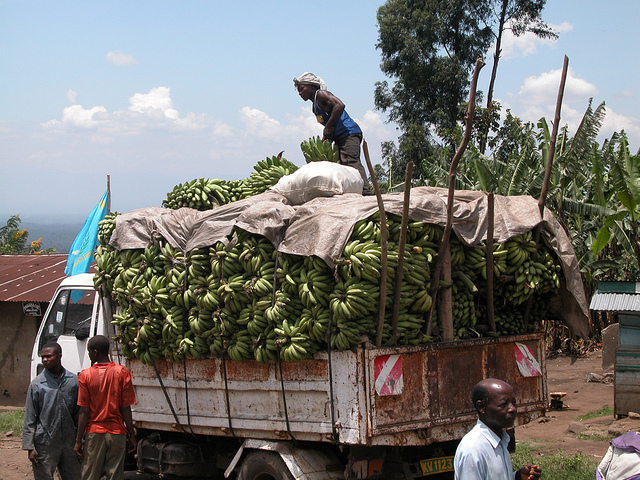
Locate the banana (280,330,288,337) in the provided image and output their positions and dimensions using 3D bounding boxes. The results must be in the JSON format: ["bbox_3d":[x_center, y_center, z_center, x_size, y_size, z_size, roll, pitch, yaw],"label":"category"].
[{"bbox_3d":[-0.387,1.007,6.736,0.086,0.075,0.021,-2,6,17],"label":"banana"}]

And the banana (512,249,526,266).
[{"bbox_3d":[2.277,0.205,7.160,0.120,0.148,0.042,47,-11,-34],"label":"banana"}]

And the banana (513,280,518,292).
[{"bbox_3d":[2.276,0.539,7.292,0.030,0.123,0.024,-2,0,-42],"label":"banana"}]

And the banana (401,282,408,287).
[{"bbox_3d":[0.881,0.465,6.575,0.016,0.043,0.101,2,9,41],"label":"banana"}]

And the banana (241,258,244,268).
[{"bbox_3d":[-0.880,0.254,7.135,0.022,0.106,0.096,-5,6,-20],"label":"banana"}]

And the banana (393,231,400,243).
[{"bbox_3d":[0.801,-0.034,6.530,0.030,0.129,0.044,28,-1,12],"label":"banana"}]

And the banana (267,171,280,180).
[{"bbox_3d":[-0.623,-0.872,8.457,0.173,0.094,0.029,0,7,31],"label":"banana"}]

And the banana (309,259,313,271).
[{"bbox_3d":[-0.092,0.271,6.640,0.019,0.090,0.048,0,-2,-30],"label":"banana"}]

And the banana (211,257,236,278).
[{"bbox_3d":[-1.125,0.312,7.265,0.229,0.255,0.131,-19,-21,41],"label":"banana"}]

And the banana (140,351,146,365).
[{"bbox_3d":[-2.277,1.526,8.070,0.034,0.100,0.121,3,39,-21],"label":"banana"}]

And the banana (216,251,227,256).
[{"bbox_3d":[-1.135,0.155,7.266,0.137,0.052,0.035,0,7,30],"label":"banana"}]

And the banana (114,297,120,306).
[{"bbox_3d":[-2.712,0.828,8.384,0.075,0.110,0.026,-8,31,-27],"label":"banana"}]

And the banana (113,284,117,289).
[{"bbox_3d":[-2.707,0.609,8.294,0.048,0.051,0.013,3,4,30],"label":"banana"}]

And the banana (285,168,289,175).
[{"bbox_3d":[-0.441,-0.929,8.499,0.023,0.072,0.048,10,-10,-32],"label":"banana"}]

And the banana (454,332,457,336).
[{"bbox_3d":[1.532,1.066,7.113,0.047,0.053,0.013,9,8,28],"label":"banana"}]

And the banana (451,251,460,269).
[{"bbox_3d":[1.495,0.224,6.996,0.094,0.207,0.103,-5,7,-20],"label":"banana"}]

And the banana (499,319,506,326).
[{"bbox_3d":[2.188,0.987,7.499,0.104,0.064,0.016,-8,8,-33],"label":"banana"}]

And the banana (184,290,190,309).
[{"bbox_3d":[-1.603,0.729,7.561,0.056,0.231,0.117,-5,6,-15],"label":"banana"}]

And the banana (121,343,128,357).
[{"bbox_3d":[-2.585,1.452,8.289,0.043,0.145,0.120,5,-42,-21],"label":"banana"}]

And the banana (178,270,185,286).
[{"bbox_3d":[-1.673,0.458,7.585,0.104,0.160,0.030,0,7,30],"label":"banana"}]

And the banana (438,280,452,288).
[{"bbox_3d":[1.367,0.480,6.841,0.197,0.073,0.054,6,4,42],"label":"banana"}]

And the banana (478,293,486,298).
[{"bbox_3d":[1.897,0.647,7.318,0.063,0.040,0.016,28,28,-23],"label":"banana"}]

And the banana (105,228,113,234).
[{"bbox_3d":[-2.860,-0.123,8.522,0.036,0.047,0.154,27,-48,-34],"label":"banana"}]

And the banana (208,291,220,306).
[{"bbox_3d":[-1.239,0.700,7.290,0.054,0.209,0.077,-35,18,40],"label":"banana"}]

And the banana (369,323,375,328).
[{"bbox_3d":[0.531,0.880,6.456,0.040,0.046,0.012,-5,-7,-11],"label":"banana"}]

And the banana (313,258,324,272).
[{"bbox_3d":[-0.014,0.283,6.586,0.023,0.085,0.100,-17,49,-38],"label":"banana"}]

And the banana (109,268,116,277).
[{"bbox_3d":[-2.775,0.436,8.406,0.112,0.063,0.030,-46,-37,22],"label":"banana"}]

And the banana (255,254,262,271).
[{"bbox_3d":[-0.682,0.249,7.016,0.045,0.191,0.060,3,-22,46],"label":"banana"}]

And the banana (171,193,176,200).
[{"bbox_3d":[-2.022,-0.613,8.688,0.027,0.077,0.106,-8,8,-38],"label":"banana"}]

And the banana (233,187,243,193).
[{"bbox_3d":[-1.127,-0.687,8.609,0.123,0.070,0.076,-4,6,-7],"label":"banana"}]

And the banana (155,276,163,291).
[{"bbox_3d":[-1.995,0.538,7.816,0.058,0.189,0.050,22,4,-18],"label":"banana"}]

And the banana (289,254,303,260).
[{"bbox_3d":[-0.254,0.186,6.849,0.147,0.052,0.024,-1,6,20],"label":"banana"}]

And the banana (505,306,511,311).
[{"bbox_3d":[2.260,0.823,7.555,0.053,0.058,0.013,7,8,17],"label":"banana"}]

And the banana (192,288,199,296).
[{"bbox_3d":[-1.476,0.616,7.461,0.097,0.021,0.027,-36,25,11],"label":"banana"}]

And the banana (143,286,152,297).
[{"bbox_3d":[-2.153,0.636,7.851,0.058,0.162,0.034,1,-33,-23],"label":"banana"}]

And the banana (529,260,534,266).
[{"bbox_3d":[2.433,0.262,7.197,0.050,0.047,0.031,-7,-41,6],"label":"banana"}]

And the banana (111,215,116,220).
[{"bbox_3d":[-2.845,-0.311,8.666,0.020,0.048,0.078,-17,8,-27],"label":"banana"}]

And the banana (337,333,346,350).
[{"bbox_3d":[0.216,1.042,6.394,0.029,0.137,0.086,-13,0,15],"label":"banana"}]

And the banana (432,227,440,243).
[{"bbox_3d":[1.257,-0.052,6.763,0.065,0.159,0.037,-6,7,-23],"label":"banana"}]

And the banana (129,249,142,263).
[{"bbox_3d":[-2.394,0.202,8.174,0.029,0.174,0.062,34,-24,7],"label":"banana"}]

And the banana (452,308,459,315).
[{"bbox_3d":[1.532,0.810,7.068,0.065,0.016,0.050,-37,-22,-35],"label":"banana"}]

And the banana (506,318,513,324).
[{"bbox_3d":[2.274,0.967,7.535,0.057,0.062,0.017,19,7,-10],"label":"banana"}]

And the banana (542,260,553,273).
[{"bbox_3d":[2.639,0.291,7.284,0.165,0.055,0.089,-45,20,-25],"label":"banana"}]

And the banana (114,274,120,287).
[{"bbox_3d":[-2.672,0.531,8.289,0.042,0.155,0.051,22,-1,-17],"label":"banana"}]

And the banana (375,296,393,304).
[{"bbox_3d":[0.670,0.632,6.493,0.218,0.097,0.021,-9,8,-38],"label":"banana"}]

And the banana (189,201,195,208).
[{"bbox_3d":[-1.726,-0.475,8.408,0.047,0.068,0.039,-16,-35,13],"label":"banana"}]

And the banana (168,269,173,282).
[{"bbox_3d":[-1.829,0.432,7.709,0.041,0.139,0.119,-7,7,-31],"label":"banana"}]

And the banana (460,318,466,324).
[{"bbox_3d":[1.641,0.928,7.200,0.052,0.058,0.013,-15,5,13],"label":"banana"}]

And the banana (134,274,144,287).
[{"bbox_3d":[-2.297,0.516,8.004,0.050,0.212,0.055,16,32,-34],"label":"banana"}]

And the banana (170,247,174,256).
[{"bbox_3d":[-1.825,0.136,7.777,0.031,0.128,0.026,-10,-37,-7],"label":"banana"}]

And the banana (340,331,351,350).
[{"bbox_3d":[0.257,1.020,6.376,0.056,0.241,0.048,-18,2,-5],"label":"banana"}]

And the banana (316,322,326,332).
[{"bbox_3d":[0.005,0.911,6.526,0.067,0.089,0.021,-38,-6,12],"label":"banana"}]

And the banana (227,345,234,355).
[{"bbox_3d":[-1.021,1.264,7.219,0.031,0.114,0.060,7,-14,30],"label":"banana"}]

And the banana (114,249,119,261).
[{"bbox_3d":[-2.723,0.196,8.426,0.031,0.164,0.043,26,6,14],"label":"banana"}]

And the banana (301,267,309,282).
[{"bbox_3d":[-0.159,0.372,6.704,0.076,0.147,0.069,-2,6,8],"label":"banana"}]

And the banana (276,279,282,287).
[{"bbox_3d":[-0.451,0.470,6.885,0.060,0.073,0.021,0,7,28],"label":"banana"}]

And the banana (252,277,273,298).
[{"bbox_3d":[-0.641,0.524,6.942,0.122,0.224,0.205,3,15,-31],"label":"banana"}]

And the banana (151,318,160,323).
[{"bbox_3d":[-2.050,1.009,7.840,0.054,0.060,0.016,16,8,14],"label":"banana"}]
